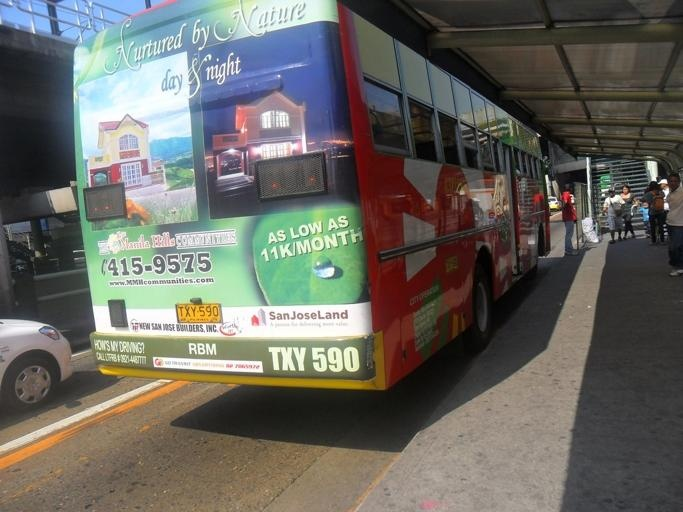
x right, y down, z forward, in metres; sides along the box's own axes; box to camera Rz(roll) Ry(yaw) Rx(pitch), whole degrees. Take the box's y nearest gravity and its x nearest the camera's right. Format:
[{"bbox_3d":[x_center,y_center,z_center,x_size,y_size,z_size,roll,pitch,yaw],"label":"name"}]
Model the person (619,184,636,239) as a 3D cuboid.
[{"bbox_3d":[13.625,-2.051,21.394,0.746,2.580,0.759,-6,3,-37],"label":"person"}]
